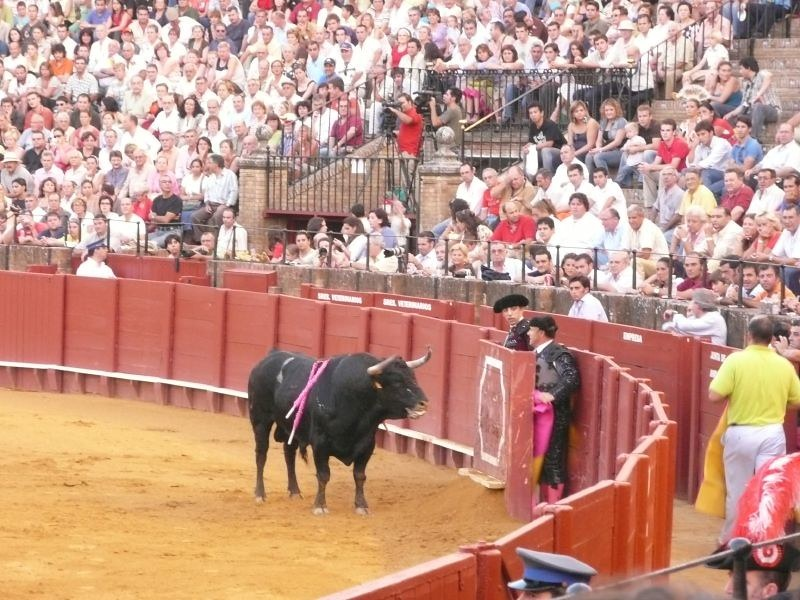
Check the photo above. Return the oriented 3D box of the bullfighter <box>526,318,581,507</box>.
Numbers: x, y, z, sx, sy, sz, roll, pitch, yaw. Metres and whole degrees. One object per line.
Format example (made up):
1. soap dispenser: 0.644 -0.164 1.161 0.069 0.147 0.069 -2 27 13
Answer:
1. bullfighter: 1.753 1.230 21.188 0.581 2.149 0.444 1 5 4

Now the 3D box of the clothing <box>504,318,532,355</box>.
1. clothing: 1.379 0.370 21.681 0.307 0.462 0.560 4 -1 -19

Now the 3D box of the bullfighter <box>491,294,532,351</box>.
1. bullfighter: 1.304 0.222 21.521 0.433 0.641 0.628 2 5 13

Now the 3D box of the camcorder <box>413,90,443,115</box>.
1. camcorder: 0.444 -3.258 29.958 0.420 0.212 0.294 0 6 -13
